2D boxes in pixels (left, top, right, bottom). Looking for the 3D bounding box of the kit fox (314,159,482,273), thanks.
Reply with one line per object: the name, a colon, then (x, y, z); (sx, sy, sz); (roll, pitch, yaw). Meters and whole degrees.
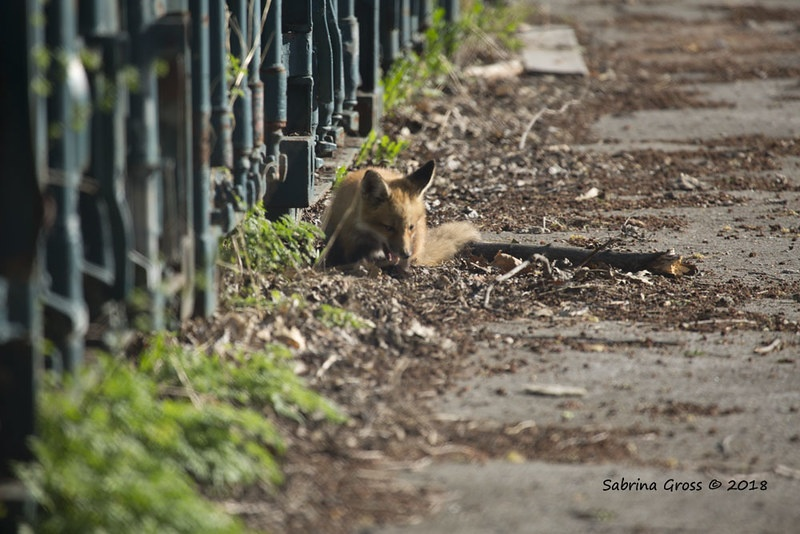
kit fox: (-0.020, -0.376, 7.334); (1.154, 0.674, 0.935); (11, 22, 25)
